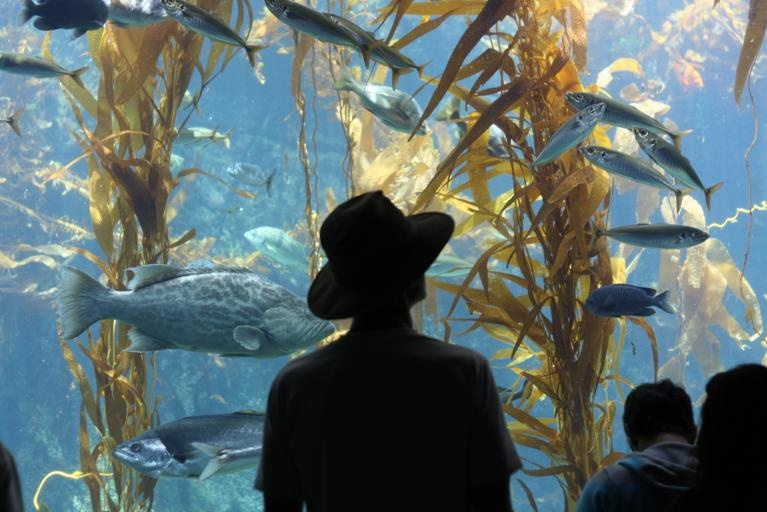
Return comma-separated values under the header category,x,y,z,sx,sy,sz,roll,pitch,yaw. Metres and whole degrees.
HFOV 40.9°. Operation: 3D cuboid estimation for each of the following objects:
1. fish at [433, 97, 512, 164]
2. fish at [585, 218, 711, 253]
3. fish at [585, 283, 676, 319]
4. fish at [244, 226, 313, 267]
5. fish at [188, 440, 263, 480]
category,x,y,z,sx,sy,sz,roll,pitch,yaw
fish,3.208,-4.638,37.383,1.132,2.102,4.924,-5,16,-20
fish,9.365,-0.764,35.539,3.584,0.995,0.580,1,-20,0
fish,8.311,1.517,35.257,2.792,1.076,0.586,-1,-20,3
fish,-4.284,-0.387,40.735,2.097,1.853,3.806,-1,2,-13
fish,-5.332,7.044,35.224,2.189,1.201,0.441,1,-20,-2
